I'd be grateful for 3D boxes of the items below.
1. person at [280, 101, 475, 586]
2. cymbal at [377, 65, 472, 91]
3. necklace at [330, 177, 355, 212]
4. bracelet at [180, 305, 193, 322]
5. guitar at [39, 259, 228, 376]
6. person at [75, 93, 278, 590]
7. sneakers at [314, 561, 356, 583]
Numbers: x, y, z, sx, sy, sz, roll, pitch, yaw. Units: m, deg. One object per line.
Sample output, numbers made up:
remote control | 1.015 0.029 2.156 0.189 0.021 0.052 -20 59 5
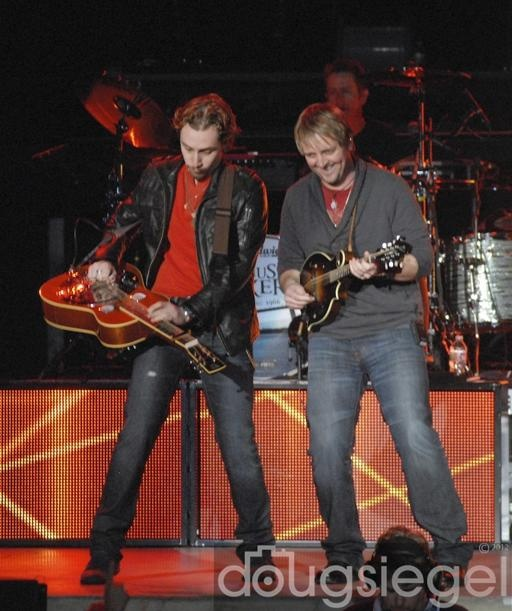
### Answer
person | 0.365 0.099 2.618 0.688 1.597 0.444 -1 3 17
cymbal | 0.939 -1.292 4.340 0.521 0.123 0.321 -2 3 7
necklace | 0.303 -0.391 2.715 0.073 0.117 0.030 5 -2 37
bracelet | -0.234 0.031 2.618 0.053 0.048 0.013 -8 3 5
guitar | -0.537 -0.030 2.789 0.339 0.112 0.769 -17 32 -39
person | -0.276 0.083 2.742 0.664 1.678 0.469 -2 3 1
sneakers | 0.256 0.867 2.494 0.136 0.052 0.059 1 30 -2
